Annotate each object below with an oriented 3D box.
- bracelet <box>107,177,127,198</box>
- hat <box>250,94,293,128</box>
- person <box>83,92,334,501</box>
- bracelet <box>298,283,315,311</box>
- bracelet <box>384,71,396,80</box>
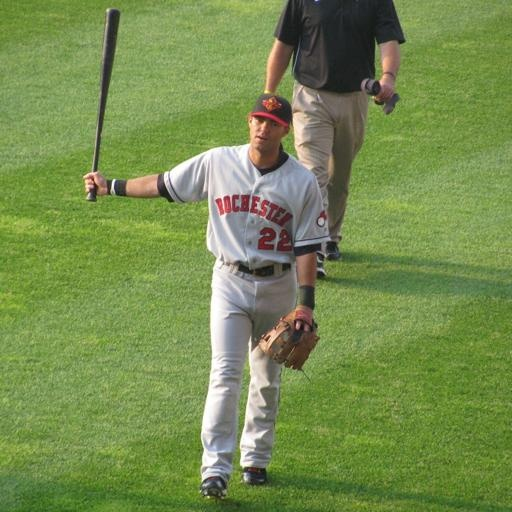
[{"bbox_3d":[-0.820,-0.410,7.269,0.100,0.103,0.037,4,6,21],"label":"bracelet"},{"bbox_3d":[0.088,-0.846,7.033,0.232,0.181,0.214,2,19,2],"label":"hat"},{"bbox_3d":[-0.061,0.151,7.119,0.895,2.129,1.033,-8,20,-25],"label":"person"},{"bbox_3d":[0.295,0.232,6.945,0.137,0.185,0.115,-1,-9,1],"label":"bracelet"},{"bbox_3d":[0.954,-1.284,8.590,0.091,0.072,0.135,3,19,5],"label":"bracelet"}]
